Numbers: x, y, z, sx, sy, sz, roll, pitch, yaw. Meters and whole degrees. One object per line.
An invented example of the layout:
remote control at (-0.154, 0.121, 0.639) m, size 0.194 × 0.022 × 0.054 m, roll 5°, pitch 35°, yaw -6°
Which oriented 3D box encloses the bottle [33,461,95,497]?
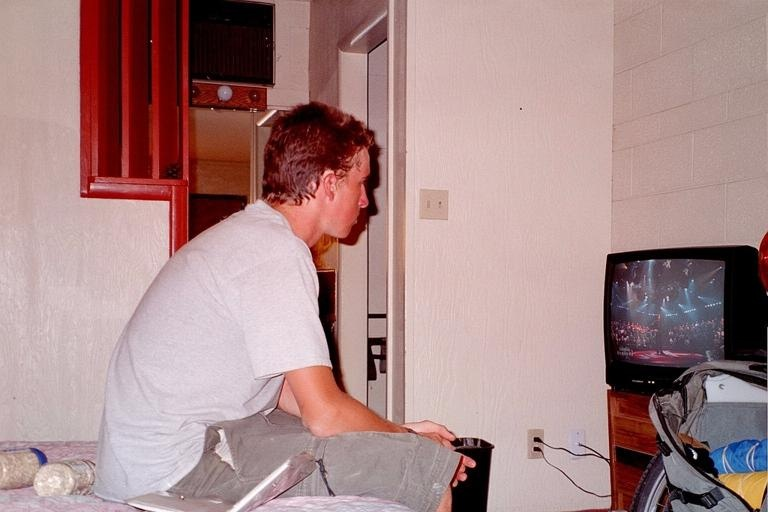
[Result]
bottle at (-0.947, 0.656, 1.954) m, size 0.116 × 0.087 × 0.149 m, roll 9°, pitch 2°, yaw 1°

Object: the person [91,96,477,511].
person at (-0.424, 0.122, 2.727) m, size 1.383 × 1.867 × 1.069 m, roll 0°, pitch 2°, yaw -22°
